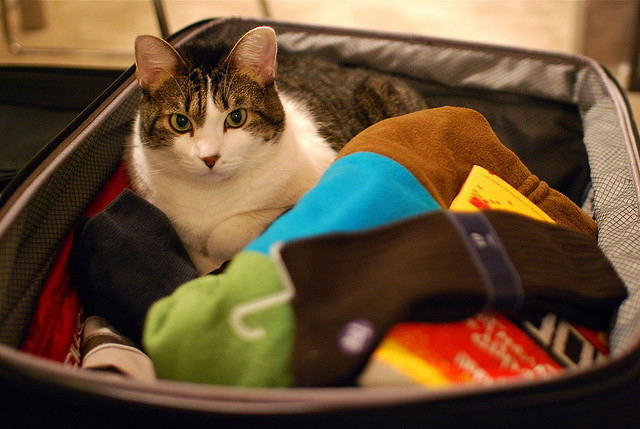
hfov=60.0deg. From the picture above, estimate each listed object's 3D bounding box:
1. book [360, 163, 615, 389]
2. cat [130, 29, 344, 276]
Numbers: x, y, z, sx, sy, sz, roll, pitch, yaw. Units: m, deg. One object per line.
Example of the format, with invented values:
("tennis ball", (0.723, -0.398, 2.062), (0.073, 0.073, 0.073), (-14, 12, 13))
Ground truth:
("book", (0.322, 0.159, 0.892), (0.362, 0.109, 0.368), (8, 51, -20))
("cat", (-0.168, -0.190, 1.378), (0.416, 0.422, 0.576), (-4, 36, 7))
